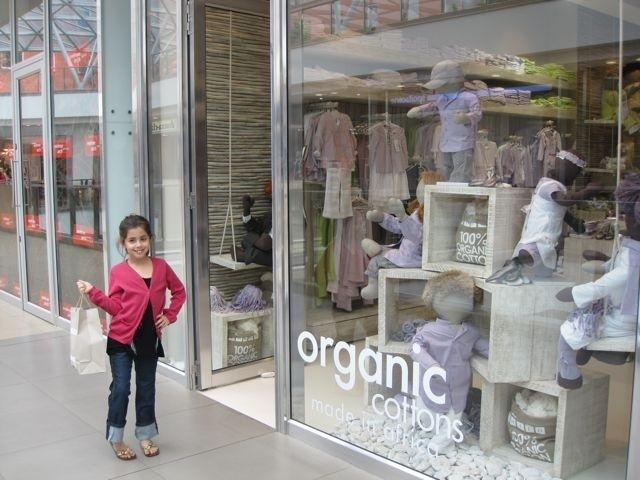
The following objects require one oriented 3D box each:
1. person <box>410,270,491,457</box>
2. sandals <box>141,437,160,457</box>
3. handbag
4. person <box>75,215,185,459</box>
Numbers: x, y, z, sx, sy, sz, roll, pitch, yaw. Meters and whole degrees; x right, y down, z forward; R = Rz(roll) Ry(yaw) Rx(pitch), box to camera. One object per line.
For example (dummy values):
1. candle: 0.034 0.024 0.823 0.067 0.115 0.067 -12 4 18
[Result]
1. person: 0.674 0.611 2.490 0.442 0.910 0.652 1 7 5
2. sandals: -0.950 1.168 2.898 0.060 0.039 0.140 -2 0 -35
3. handbag: -1.259 0.539 2.791 0.163 0.362 0.127 -3 7 -30
4. person: -1.017 0.538 2.832 0.546 1.345 0.225 -2 7 -25
